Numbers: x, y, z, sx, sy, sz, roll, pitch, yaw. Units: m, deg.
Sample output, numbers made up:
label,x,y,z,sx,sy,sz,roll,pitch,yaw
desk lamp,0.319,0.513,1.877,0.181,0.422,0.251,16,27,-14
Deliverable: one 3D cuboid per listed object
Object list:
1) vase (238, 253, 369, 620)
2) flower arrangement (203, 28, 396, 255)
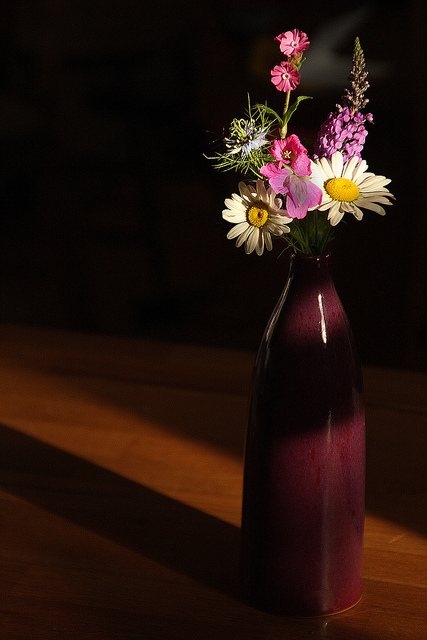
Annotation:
label,x,y,z,sx,sy,sz,roll,pitch,yaw
vase,0.077,0.090,0.514,0.116,0.287,0.097,-1,7,0
flower arrangement,0.066,-0.109,0.446,0.134,0.163,0.116,-12,21,-21
